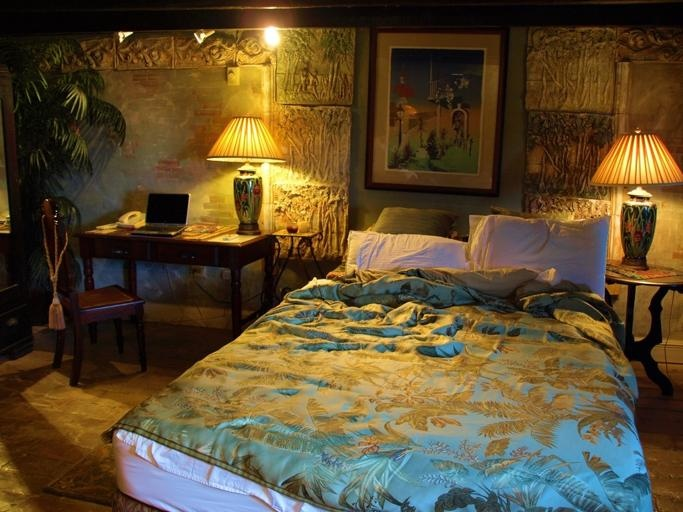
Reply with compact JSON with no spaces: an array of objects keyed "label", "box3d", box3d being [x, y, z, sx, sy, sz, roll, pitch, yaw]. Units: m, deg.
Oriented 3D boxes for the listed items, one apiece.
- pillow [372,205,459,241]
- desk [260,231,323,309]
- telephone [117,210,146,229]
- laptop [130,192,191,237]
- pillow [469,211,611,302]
[{"label":"pillow","box3d":[0.547,-0.255,4.014,0.364,0.102,0.363,4,20,18]},{"label":"desk","box3d":[-0.323,0.103,4.454,0.624,0.789,0.603,1,6,6]},{"label":"telephone","box3d":[-1.758,-0.301,4.448,0.197,0.069,0.145,-35,45,-30]},{"label":"laptop","box3d":[-1.468,-0.351,4.322,0.442,0.288,0.372,2,10,11]},{"label":"pillow","box3d":[1.357,-0.053,3.443,0.673,0.634,0.194,7,-28,18]}]
